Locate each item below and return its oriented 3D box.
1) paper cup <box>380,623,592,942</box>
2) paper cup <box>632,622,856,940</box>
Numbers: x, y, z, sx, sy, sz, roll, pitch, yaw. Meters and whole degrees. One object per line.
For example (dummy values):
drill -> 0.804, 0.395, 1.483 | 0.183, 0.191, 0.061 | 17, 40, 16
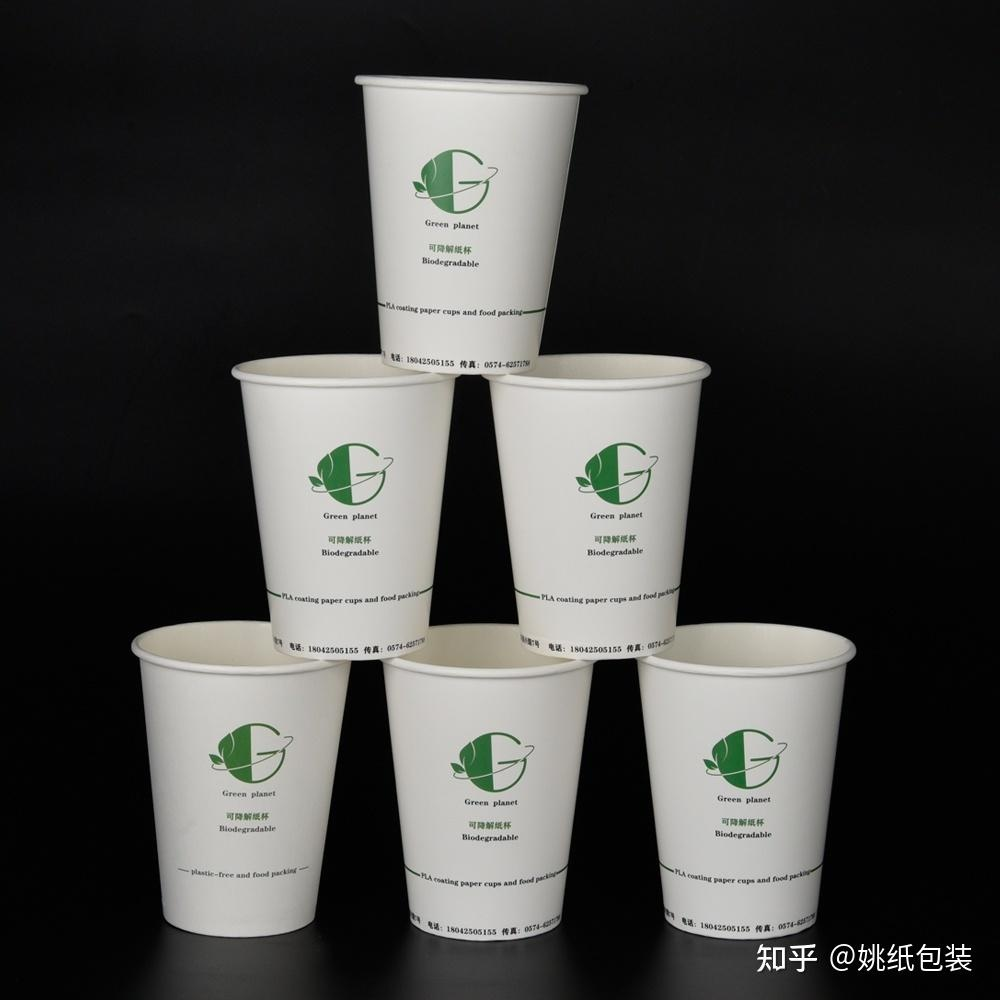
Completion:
paper cup -> -0.013, 0.381, 1.552 | 0.410, 0.421, 0.369 | 0, -2, -4
paper cup -> 0.289, 0.386, 1.589 | 0.427, 0.431, 0.389 | 0, -1, 0
